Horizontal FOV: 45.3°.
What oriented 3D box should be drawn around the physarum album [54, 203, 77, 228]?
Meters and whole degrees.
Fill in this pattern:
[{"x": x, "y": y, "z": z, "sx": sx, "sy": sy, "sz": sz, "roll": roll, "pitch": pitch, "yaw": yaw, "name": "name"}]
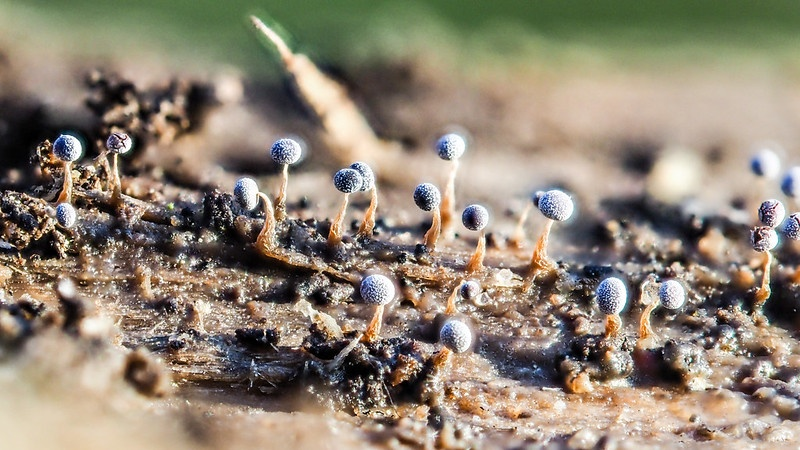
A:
[{"x": -1.473, "y": -0.040, "z": 4.231, "sx": 0.101, "sy": 0.096, "sz": 0.110, "roll": -3, "pitch": 93, "yaw": 15, "name": "physarum album"}]
